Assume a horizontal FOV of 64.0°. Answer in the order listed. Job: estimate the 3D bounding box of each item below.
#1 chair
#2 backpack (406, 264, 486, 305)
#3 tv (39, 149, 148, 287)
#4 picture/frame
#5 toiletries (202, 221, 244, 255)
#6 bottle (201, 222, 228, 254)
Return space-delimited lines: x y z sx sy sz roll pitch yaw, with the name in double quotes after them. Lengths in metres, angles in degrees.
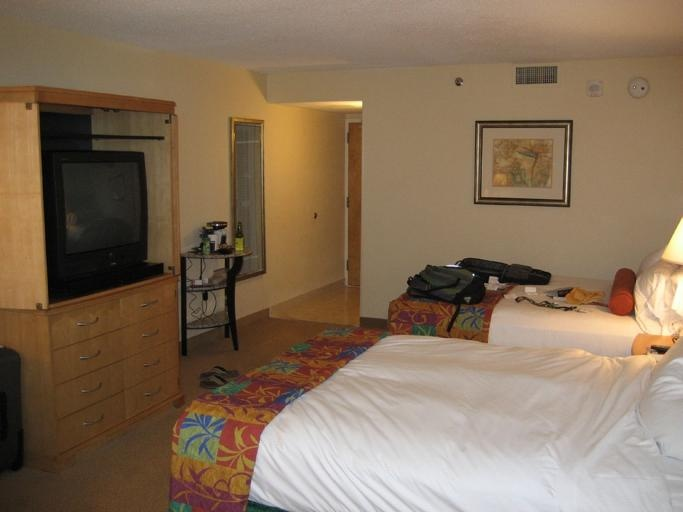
-1.397 0.411 5.891 0.937 1.087 0.964 2 6 14 "chair"
0.916 0.254 4.654 0.418 0.171 0.383 11 21 26 "backpack"
-1.752 -0.264 3.815 0.513 0.847 0.932 4 9 19 "tv"
1.925 -0.971 5.668 0.952 0.855 0.072 2 3 16 "picture/frame"
-1.238 -0.210 5.802 0.443 0.357 0.147 -6 22 -19 "toiletries"
-1.311 -0.200 5.808 0.253 0.364 0.376 0 0 23 "bottle"
